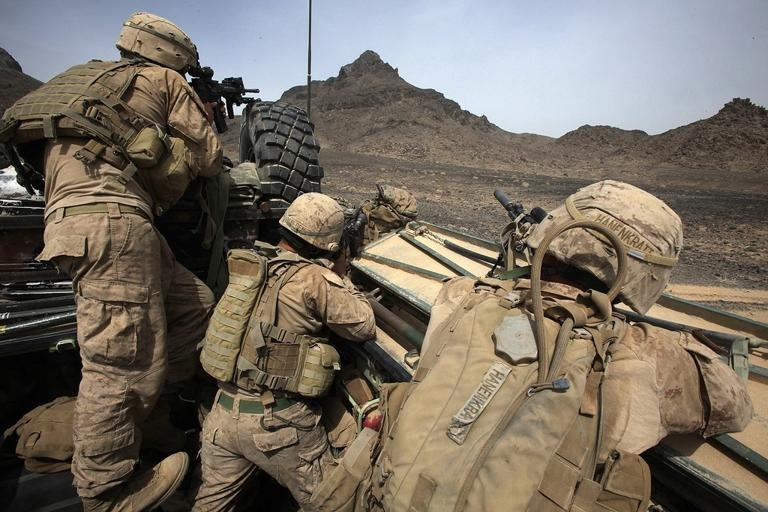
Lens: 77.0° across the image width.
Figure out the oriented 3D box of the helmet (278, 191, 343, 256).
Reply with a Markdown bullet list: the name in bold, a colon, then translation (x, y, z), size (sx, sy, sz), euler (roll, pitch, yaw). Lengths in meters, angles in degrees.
- **helmet**: translation (-0.558, -0.290, 3.948), size (0.433, 0.382, 0.501), euler (33, 23, 34)
